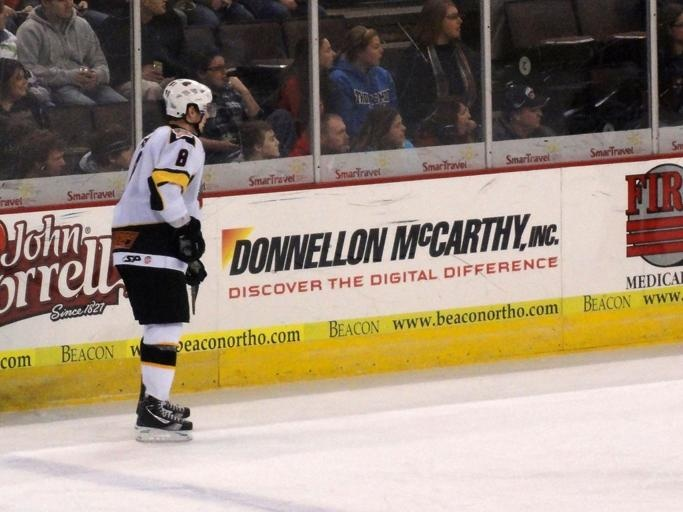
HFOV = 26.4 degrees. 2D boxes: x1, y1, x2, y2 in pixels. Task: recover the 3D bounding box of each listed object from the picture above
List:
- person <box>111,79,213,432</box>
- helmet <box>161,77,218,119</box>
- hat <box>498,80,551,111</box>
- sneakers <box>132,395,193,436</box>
[{"bbox_3d":[-1.089,0.015,9.142,0.559,1.478,0.511,-2,3,31],"label":"person"},{"bbox_3d":[-0.984,-0.997,9.217,0.330,0.230,0.236,-2,16,-27],"label":"helmet"},{"bbox_3d":[1.396,-1.211,10.998,0.292,0.098,0.205,3,37,-1],"label":"hat"},{"bbox_3d":[-1.142,1.023,9.138,0.449,0.248,0.141,14,-30,-34],"label":"sneakers"}]
